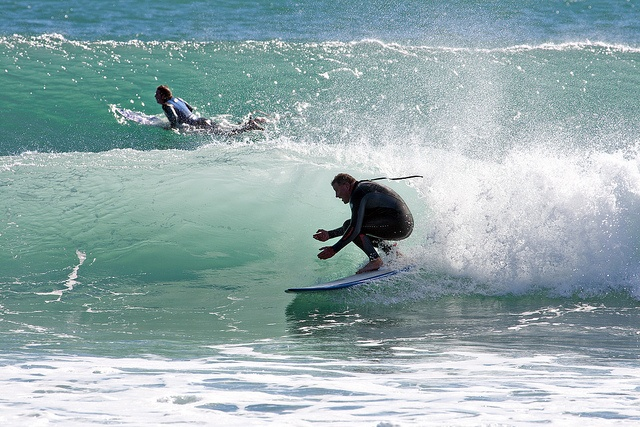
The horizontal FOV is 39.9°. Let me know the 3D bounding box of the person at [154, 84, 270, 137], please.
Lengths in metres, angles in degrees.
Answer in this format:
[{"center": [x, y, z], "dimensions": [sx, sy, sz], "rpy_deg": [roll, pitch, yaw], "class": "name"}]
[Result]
[{"center": [-2.774, -2.455, 22.340], "dimensions": [3.206, 0.926, 0.935], "rpy_deg": [10, 23, 21], "class": "person"}]
